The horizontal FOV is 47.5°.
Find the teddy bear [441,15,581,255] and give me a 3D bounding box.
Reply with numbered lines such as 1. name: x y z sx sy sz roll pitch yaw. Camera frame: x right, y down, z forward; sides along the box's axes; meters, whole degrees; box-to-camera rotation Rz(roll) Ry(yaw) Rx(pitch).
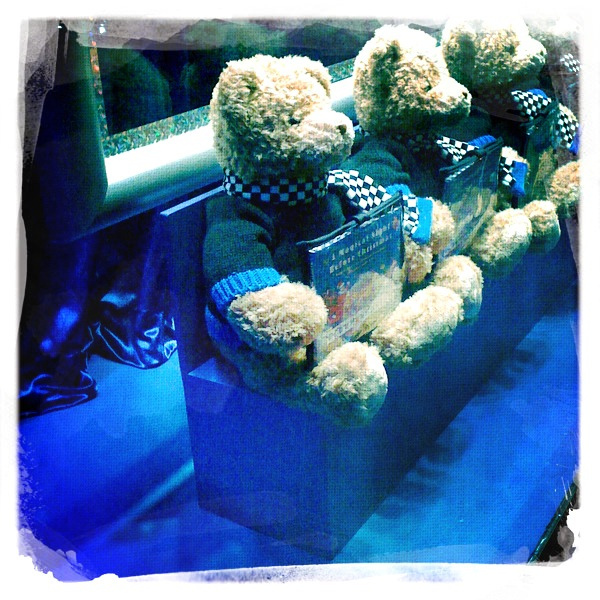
1. teddy bear: 0.598 -0.464 1.883 0.351 0.646 0.344 -18 13 -7

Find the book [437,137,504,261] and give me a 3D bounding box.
1. book: 0.430 -0.268 1.873 0.087 0.337 0.226 21 37 35

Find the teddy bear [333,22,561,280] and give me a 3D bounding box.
1. teddy bear: 0.431 -0.401 1.868 0.477 0.705 0.601 10 29 26

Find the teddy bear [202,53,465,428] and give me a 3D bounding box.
1. teddy bear: 0.060 -0.160 1.539 0.464 0.786 0.655 8 24 42

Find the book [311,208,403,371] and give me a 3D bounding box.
1. book: 0.139 -0.038 1.506 0.020 0.262 0.281 7 -21 -38
